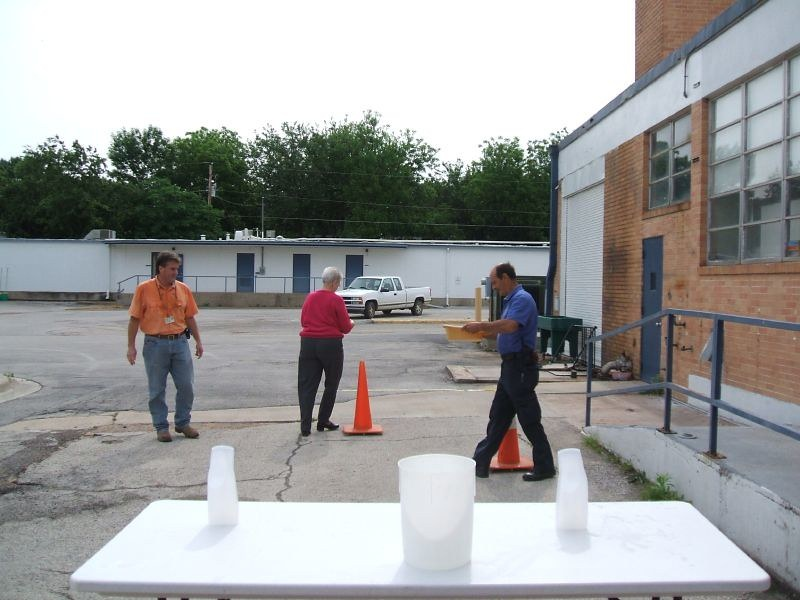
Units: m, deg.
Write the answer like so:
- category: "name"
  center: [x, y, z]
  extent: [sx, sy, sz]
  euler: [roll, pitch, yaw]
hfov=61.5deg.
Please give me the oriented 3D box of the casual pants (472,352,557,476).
- category: "casual pants"
  center: [1.099, 1.052, 6.343]
  extent: [0.734, 1.033, 0.296]
  euler: [2, 1, 15]

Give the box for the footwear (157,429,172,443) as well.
- category: "footwear"
  center: [-2.647, 1.516, 7.526]
  extent: [0.077, 0.098, 0.216]
  euler: [1, 4, -17]

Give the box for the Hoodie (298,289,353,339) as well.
- category: "Hoodie"
  center: [-0.899, 0.152, 8.168]
  extent: [0.637, 0.582, 0.508]
  euler: [3, 9, 20]

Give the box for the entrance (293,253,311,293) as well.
- category: "entrance"
  center: [-5.700, -1.601, 38.858]
  extent: [1.016, 2.542, 0.157]
  euler: [-1, 30, -11]

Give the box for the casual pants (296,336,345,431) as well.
- category: "casual pants"
  center: [-0.959, 1.007, 8.047]
  extent: [0.514, 0.870, 0.359]
  euler: [1, 0, -10]

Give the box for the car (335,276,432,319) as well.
- category: "car"
  center: [-0.878, -0.199, 28.472]
  extent: [1.726, 1.253, 3.364]
  euler: [-2, -4, 36]

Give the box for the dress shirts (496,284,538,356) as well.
- category: "dress shirts"
  center: [1.116, 0.190, 6.348]
  extent: [0.351, 0.600, 0.365]
  euler: [2, 0, 9]

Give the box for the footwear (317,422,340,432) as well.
- category: "footwear"
  center: [-0.873, 1.529, 8.171]
  extent: [0.275, 0.122, 0.101]
  euler: [-3, 2, -8]

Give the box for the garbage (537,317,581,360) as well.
- category: "garbage"
  center: [3.291, 0.681, 14.040]
  extent: [0.695, 0.969, 1.327]
  euler: [-1, 4, -7]
